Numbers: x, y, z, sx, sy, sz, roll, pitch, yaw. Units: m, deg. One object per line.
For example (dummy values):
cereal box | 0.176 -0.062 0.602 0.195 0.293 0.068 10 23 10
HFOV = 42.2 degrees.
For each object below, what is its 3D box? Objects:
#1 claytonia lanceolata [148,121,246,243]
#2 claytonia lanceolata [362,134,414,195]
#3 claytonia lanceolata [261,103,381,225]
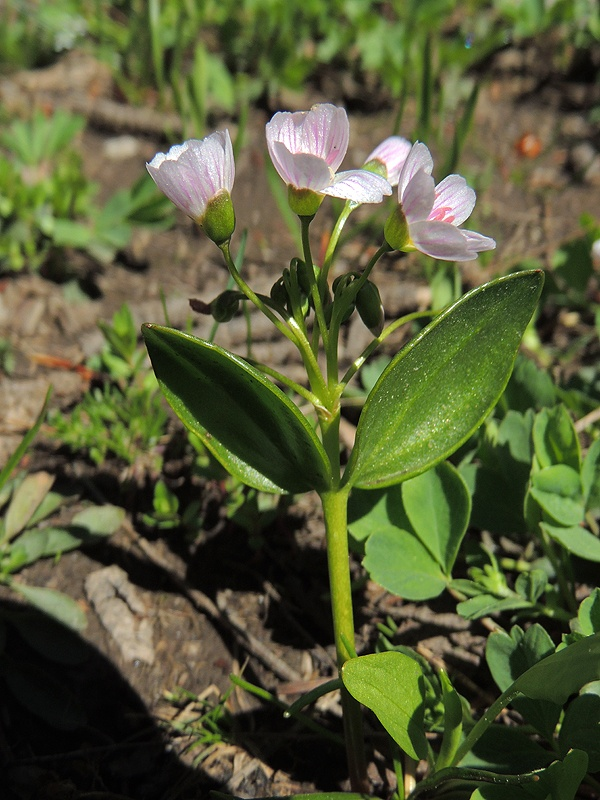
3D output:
claytonia lanceolata | -0.109 -0.234 0.889 0.103 0.117 0.112 -15 21 9
claytonia lanceolata | 0.113 -0.300 0.971 0.062 0.029 0.086 23 63 11
claytonia lanceolata | -0.007 -0.257 0.901 0.122 0.116 0.139 -3 10 4
